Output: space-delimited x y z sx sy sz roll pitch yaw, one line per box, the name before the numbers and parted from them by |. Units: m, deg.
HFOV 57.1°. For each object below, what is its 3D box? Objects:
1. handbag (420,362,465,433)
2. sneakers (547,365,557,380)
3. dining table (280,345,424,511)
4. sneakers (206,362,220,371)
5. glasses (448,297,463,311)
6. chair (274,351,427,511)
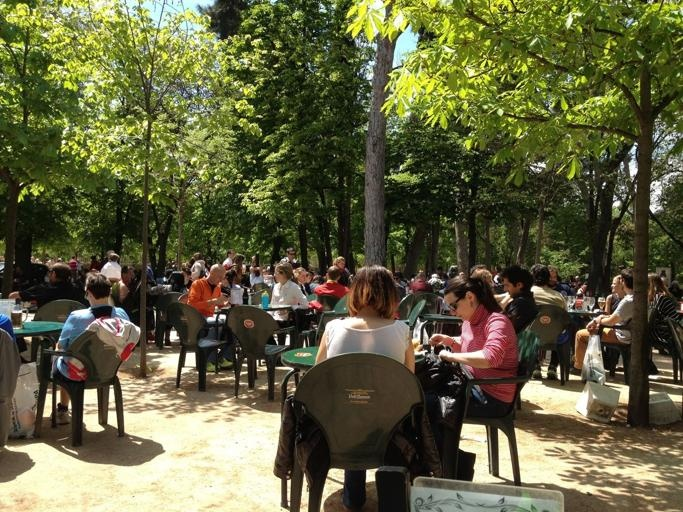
handbag | 0.986 1.278 5.792 0.480 0.582 0.394 -1 5 -24
sneakers | 3.415 1.930 10.101 0.101 0.149 0.238 -2 -26 6
dining table | 0.085 1.416 5.461 1.019 1.692 1.175 1 2 0
sneakers | -2.091 1.824 10.193 0.198 0.150 0.120 10 -8 -36
glasses | 1.125 0.490 6.228 0.029 0.107 0.099 -16 -37 39
chair | 0.156 1.378 5.362 1.021 1.619 1.181 1 1 0
